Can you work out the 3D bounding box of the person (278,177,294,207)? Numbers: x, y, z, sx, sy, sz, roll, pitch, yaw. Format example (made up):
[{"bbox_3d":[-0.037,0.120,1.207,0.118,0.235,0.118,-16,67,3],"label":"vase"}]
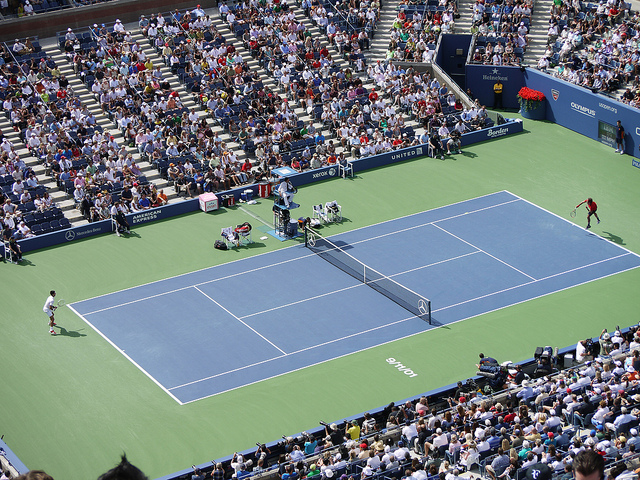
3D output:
[{"bbox_3d":[-1.878,-2.411,59.740,0.722,1.717,1.403,-7,25,-3],"label":"person"}]

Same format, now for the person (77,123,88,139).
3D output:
[{"bbox_3d":[-13.661,-6.192,62.763,0.695,0.893,0.538,-23,22,-39],"label":"person"}]

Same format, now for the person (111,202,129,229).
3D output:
[{"bbox_3d":[-10.815,-1.286,58.795,0.635,1.341,0.616,-15,27,-18],"label":"person"}]

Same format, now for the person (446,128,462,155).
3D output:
[{"bbox_3d":[8.090,-5.935,66.291,0.836,1.199,1.544,1,26,14],"label":"person"}]

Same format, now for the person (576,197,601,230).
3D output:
[{"bbox_3d":[14.349,-1.351,58.789,1.015,1.516,0.670,-12,52,13],"label":"person"}]

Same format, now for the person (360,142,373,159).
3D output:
[{"bbox_3d":[2.689,-5.224,64.738,0.587,0.829,0.533,-29,22,-10],"label":"person"}]

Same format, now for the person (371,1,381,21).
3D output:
[{"bbox_3d":[3.807,-15.554,74.934,0.698,1.307,0.560,-13,26,-15],"label":"person"}]

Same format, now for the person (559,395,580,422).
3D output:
[{"bbox_3d":[9.649,6.444,42.365,0.687,0.896,0.653,-11,22,-20],"label":"person"}]

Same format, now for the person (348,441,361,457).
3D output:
[{"bbox_3d":[1.265,7.789,41.337,0.406,0.332,0.804,-4,25,3],"label":"person"}]

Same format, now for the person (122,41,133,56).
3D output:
[{"bbox_3d":[-11.997,-11.769,68.087,0.507,0.709,0.720,-18,28,-25],"label":"person"}]

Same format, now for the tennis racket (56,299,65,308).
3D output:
[{"bbox_3d":[-12.647,2.965,53.314,0.316,0.374,0.761,-9,25,-6],"label":"tennis racket"}]

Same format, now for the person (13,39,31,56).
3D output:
[{"bbox_3d":[-18.215,-11.669,66.746,0.947,0.913,0.630,-12,26,-12],"label":"person"}]

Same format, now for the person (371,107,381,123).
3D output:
[{"bbox_3d":[3.386,-7.587,67.218,0.573,0.857,0.317,-7,25,-3],"label":"person"}]

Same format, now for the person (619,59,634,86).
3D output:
[{"bbox_3d":[18.576,-10.062,66.350,0.725,1.426,0.612,-10,25,-8],"label":"person"}]

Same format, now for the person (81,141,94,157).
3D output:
[{"bbox_3d":[-13.013,-5.056,61.626,0.683,0.726,0.513,6,28,24],"label":"person"}]

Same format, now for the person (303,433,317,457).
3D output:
[{"bbox_3d":[-0.402,7.934,42.553,0.484,1.169,0.665,3,19,-4],"label":"person"}]

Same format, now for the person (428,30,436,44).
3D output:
[{"bbox_3d":[7.471,-13.447,73.455,0.505,0.616,1.207,-3,25,6],"label":"person"}]

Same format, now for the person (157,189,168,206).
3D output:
[{"bbox_3d":[-8.752,-2.314,60.544,0.356,1.209,0.560,17,31,38],"label":"person"}]

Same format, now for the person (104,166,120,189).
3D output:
[{"bbox_3d":[-11.607,-3.608,60.591,0.716,0.825,0.608,-11,25,-10],"label":"person"}]

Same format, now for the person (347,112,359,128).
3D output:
[{"bbox_3d":[1.853,-7.198,66.384,0.698,0.983,0.688,-6,8,-25],"label":"person"}]

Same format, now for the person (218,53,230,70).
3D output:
[{"bbox_3d":[-6.137,-11.127,69.024,0.595,0.731,1.135,-11,25,-10],"label":"person"}]

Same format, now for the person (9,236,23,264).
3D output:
[{"bbox_3d":[-15.702,0.458,56.388,0.515,1.352,0.664,-15,26,-18],"label":"person"}]

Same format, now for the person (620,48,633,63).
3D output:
[{"bbox_3d":[18.751,-11.199,66.806,0.311,0.433,0.867,36,68,16],"label":"person"}]

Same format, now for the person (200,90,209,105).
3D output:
[{"bbox_3d":[-7.110,-8.599,66.826,0.441,0.698,1.109,-14,26,-17],"label":"person"}]

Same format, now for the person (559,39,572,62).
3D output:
[{"bbox_3d":[15.622,-12.060,70.190,0.808,1.277,0.657,-10,25,-8],"label":"person"}]

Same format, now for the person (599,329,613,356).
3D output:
[{"bbox_3d":[12.422,4.524,47.789,0.411,1.028,1.030,-8,25,-4],"label":"person"}]

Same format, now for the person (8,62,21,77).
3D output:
[{"bbox_3d":[-18.370,-10.114,65.651,0.930,0.886,0.526,-10,9,-33],"label":"person"}]

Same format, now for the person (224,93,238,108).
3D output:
[{"bbox_3d":[-5.489,-8.426,66.717,0.654,1.066,0.293,-26,9,-36],"label":"person"}]

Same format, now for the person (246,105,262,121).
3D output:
[{"bbox_3d":[-3.958,-7.570,66.280,0.662,0.838,0.760,-18,62,-11],"label":"person"}]

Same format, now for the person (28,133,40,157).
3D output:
[{"bbox_3d":[-16.120,-5.403,61.720,0.625,1.005,0.377,-11,25,-10],"label":"person"}]

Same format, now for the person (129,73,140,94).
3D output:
[{"bbox_3d":[-11.353,-9.495,66.543,0.586,0.815,0.815,10,29,30],"label":"person"}]

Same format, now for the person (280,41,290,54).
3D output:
[{"bbox_3d":[-2.303,-12.363,70.848,0.535,0.614,0.762,2,26,16],"label":"person"}]

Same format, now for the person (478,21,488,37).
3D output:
[{"bbox_3d":[10.918,-14.034,73.485,0.694,0.993,0.731,1,11,10],"label":"person"}]

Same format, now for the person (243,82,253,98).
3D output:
[{"bbox_3d":[-4.481,-9.163,67.706,0.655,0.755,0.480,-22,48,-35],"label":"person"}]

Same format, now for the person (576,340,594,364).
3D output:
[{"bbox_3d":[11.335,4.852,47.080,0.633,0.939,0.862,-8,25,-5],"label":"person"}]

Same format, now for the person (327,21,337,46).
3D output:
[{"bbox_3d":[0.762,-13.389,72.327,0.556,1.314,0.616,-6,25,0],"label":"person"}]

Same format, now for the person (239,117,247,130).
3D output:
[{"bbox_3d":[-4.608,-6.871,65.100,0.588,0.789,0.473,-17,29,-34],"label":"person"}]

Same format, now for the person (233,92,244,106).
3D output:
[{"bbox_3d":[-5.045,-8.535,66.947,0.620,0.779,0.418,-20,37,-22],"label":"person"}]

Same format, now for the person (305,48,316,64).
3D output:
[{"bbox_3d":[-0.637,-11.805,70.850,0.618,0.673,0.802,1,26,14],"label":"person"}]

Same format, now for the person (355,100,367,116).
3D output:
[{"bbox_3d":[2.378,-8.282,67.727,0.829,0.810,0.296,-2,-23,-33],"label":"person"}]

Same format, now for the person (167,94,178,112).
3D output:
[{"bbox_3d":[-8.819,-8.133,65.434,0.530,0.778,0.665,0,26,14],"label":"person"}]

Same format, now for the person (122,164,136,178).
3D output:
[{"bbox_3d":[-10.656,-3.801,60.840,0.641,0.764,0.524,-13,26,-14],"label":"person"}]

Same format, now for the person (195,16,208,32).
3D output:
[{"bbox_3d":[-7.726,-13.886,70.855,0.631,0.819,0.645,6,27,23],"label":"person"}]

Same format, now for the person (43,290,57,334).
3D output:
[{"bbox_3d":[-12.763,3.446,51.755,0.666,1.889,0.928,-12,44,-26],"label":"person"}]
